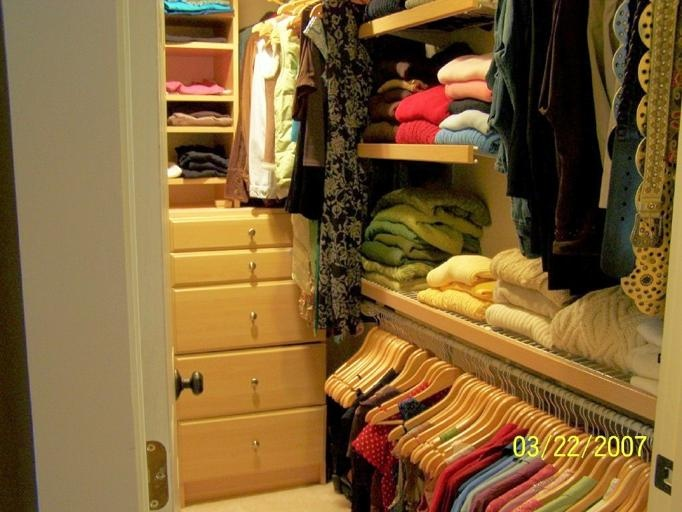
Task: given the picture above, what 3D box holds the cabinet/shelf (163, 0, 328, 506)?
[{"bbox_3d":[-0.500,-0.065,2.810,0.706,2.373,0.649,-5,6,-18],"label":"cabinet/shelf"}]
